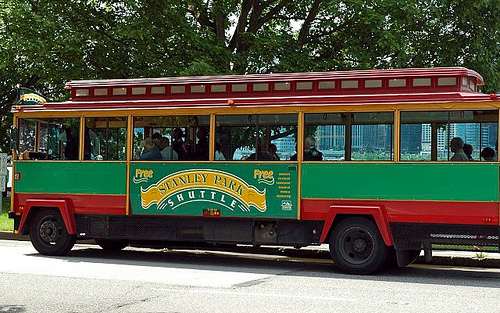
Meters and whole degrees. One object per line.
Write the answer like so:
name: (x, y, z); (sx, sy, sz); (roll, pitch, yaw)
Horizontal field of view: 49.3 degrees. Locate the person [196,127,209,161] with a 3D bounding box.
person: (-1.278, -0.231, 14.260); (0.395, 1.177, 0.494); (-4, 37, -10)
